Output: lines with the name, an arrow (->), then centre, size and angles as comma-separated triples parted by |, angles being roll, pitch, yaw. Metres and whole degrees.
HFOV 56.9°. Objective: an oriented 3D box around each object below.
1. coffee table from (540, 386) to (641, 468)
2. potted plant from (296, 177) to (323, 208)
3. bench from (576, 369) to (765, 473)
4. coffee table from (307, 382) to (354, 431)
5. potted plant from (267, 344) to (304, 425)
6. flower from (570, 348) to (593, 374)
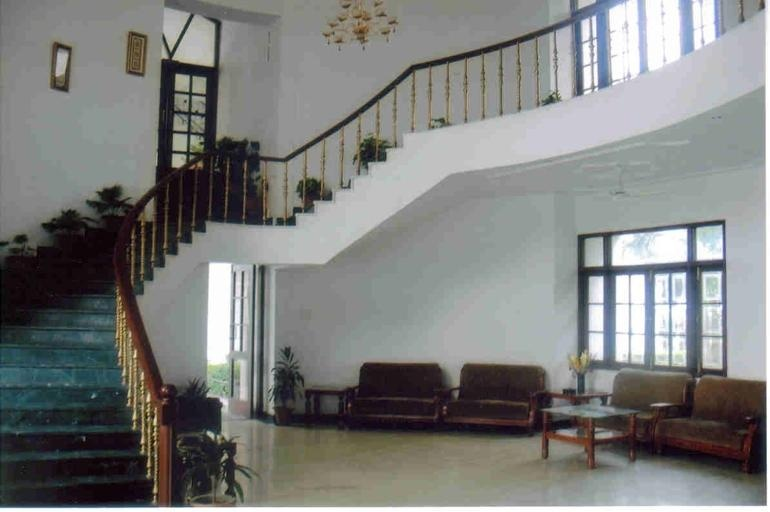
coffee table -> 3.061, 2.554, 10.832 | 0.984, 0.781, 0.970 | 0, -1, -36
potted plant -> -1.308, -1.130, 12.315 | 0.531, 0.582, 0.547 | 2, -9, -19
bench -> 4.592, 2.363, 10.688 | 2.167, 1.162, 0.949 | 4, 5, 41
coffee table -> -1.020, 2.627, 12.520 | 0.690, 0.569, 0.722 | 1, -12, 0
potted plant -> -1.751, 2.275, 12.638 | 0.619, 1.320, 0.429 | -1, 4, -8
flower -> 3.305, 1.790, 12.060 | 0.400, 0.459, 0.400 | -1, -10, 13
